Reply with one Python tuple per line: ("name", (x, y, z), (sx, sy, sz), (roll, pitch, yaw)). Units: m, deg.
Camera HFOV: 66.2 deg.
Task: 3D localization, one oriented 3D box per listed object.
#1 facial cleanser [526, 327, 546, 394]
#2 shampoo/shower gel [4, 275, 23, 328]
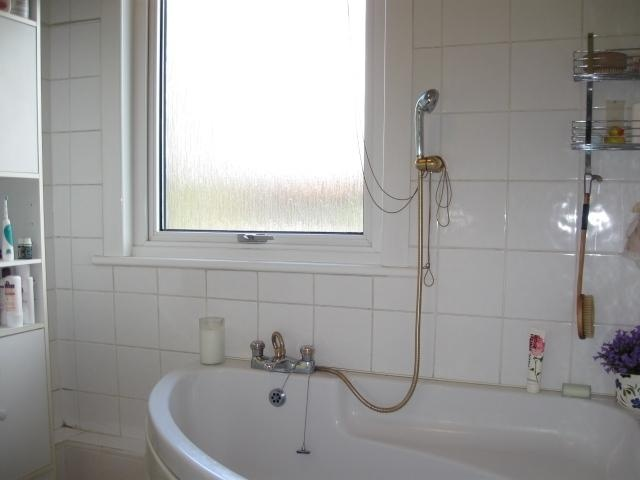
("facial cleanser", (0.942, 0.527, 2.127), (0.060, 0.265, 0.035), (3, 4, 27))
("shampoo/shower gel", (-1.479, 0.296, 2.353), (0.080, 0.245, 0.049), (-2, 5, -37))
